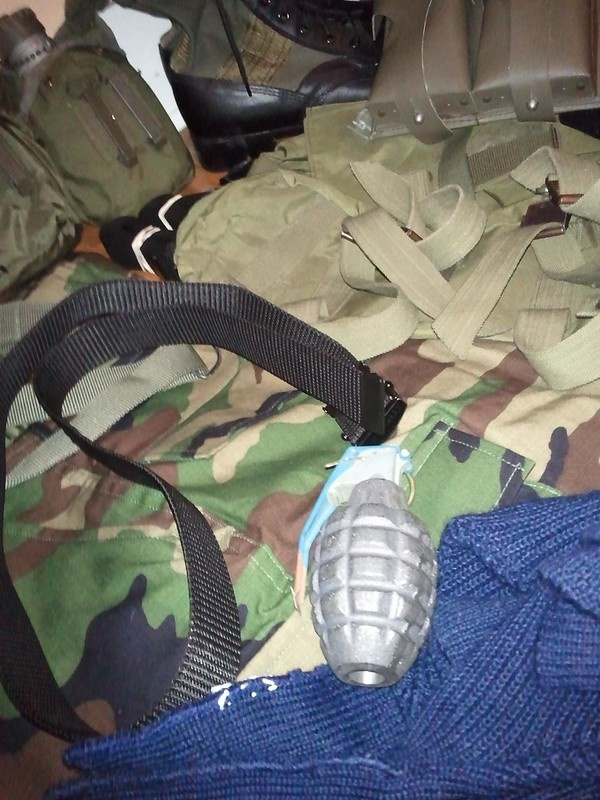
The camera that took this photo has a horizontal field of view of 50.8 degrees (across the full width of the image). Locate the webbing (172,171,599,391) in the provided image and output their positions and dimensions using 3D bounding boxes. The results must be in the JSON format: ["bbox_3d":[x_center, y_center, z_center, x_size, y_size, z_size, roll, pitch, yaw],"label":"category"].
[{"bbox_3d":[0.086,-0.157,0.806,0.415,0.088,0.309,8,51,-5],"label":"webbing"}]
